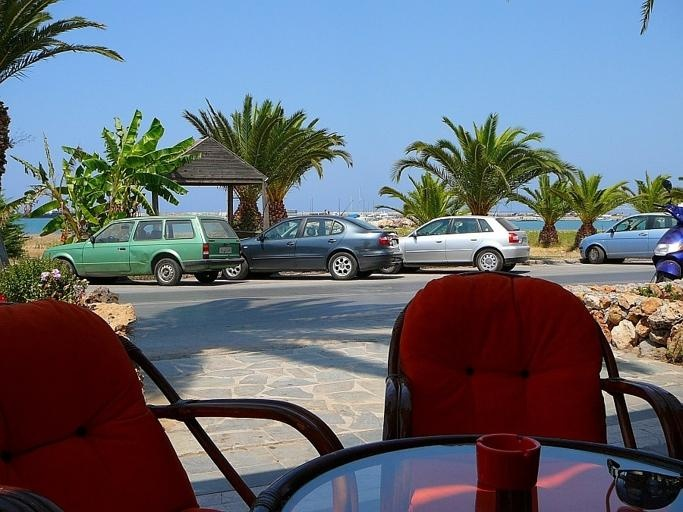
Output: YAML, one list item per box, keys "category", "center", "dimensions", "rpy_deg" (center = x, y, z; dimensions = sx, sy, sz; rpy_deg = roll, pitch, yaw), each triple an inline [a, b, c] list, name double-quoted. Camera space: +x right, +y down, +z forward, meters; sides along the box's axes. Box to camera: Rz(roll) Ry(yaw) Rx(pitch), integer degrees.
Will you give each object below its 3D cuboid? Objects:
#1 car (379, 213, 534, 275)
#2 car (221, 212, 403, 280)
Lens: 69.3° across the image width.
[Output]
- category: "car"
  center: [4.369, -0.453, 18.455]
  dimensions: [4.931, 1.680, 2.204]
  rpy_deg: [1, 0, 19]
- category: "car"
  center: [-0.817, -0.356, 17.092]
  dimensions: [5.241, 1.723, 2.400]
  rpy_deg: [1, 0, 13]
